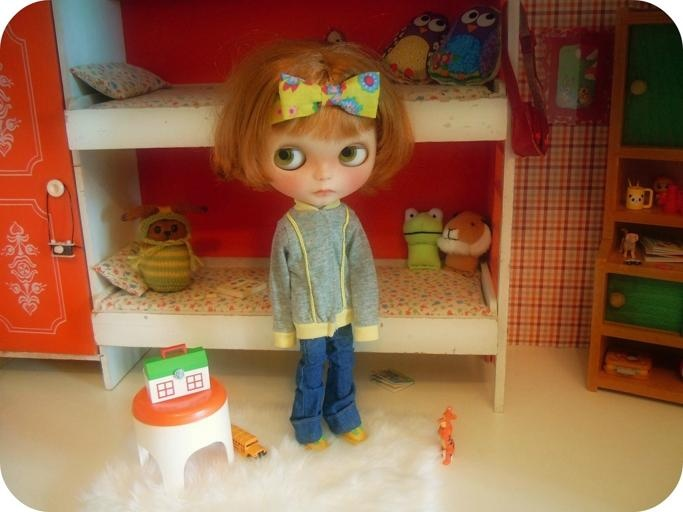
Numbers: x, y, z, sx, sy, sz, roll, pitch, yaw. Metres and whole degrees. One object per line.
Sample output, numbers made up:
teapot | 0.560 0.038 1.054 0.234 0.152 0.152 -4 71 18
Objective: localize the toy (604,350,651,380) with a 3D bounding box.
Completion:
toy | 1.666 0.621 3.236 0.237 0.097 0.170 7 22 26

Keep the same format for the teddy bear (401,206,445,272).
teddy bear | 0.524 -0.112 3.549 0.285 0.391 0.249 -1 3 12

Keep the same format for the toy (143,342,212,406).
toy | -0.772 0.564 2.627 0.305 0.239 0.152 -7 6 -31

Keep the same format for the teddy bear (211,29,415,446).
teddy bear | -0.084 -0.033 2.754 0.944 1.949 0.535 -8 20 -12

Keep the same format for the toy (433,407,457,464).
toy | 0.532 0.829 2.801 0.091 0.284 0.322 0 20 10

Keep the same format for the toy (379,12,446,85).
toy | 0.410 -1.151 3.086 0.286 0.407 0.144 32 3 16

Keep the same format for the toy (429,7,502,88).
toy | 0.676 -1.074 2.980 0.336 0.428 0.186 24 27 16

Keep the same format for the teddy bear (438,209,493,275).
teddy bear | 0.756 -0.079 3.370 0.365 0.413 0.357 3 2 -42

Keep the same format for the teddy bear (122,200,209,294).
teddy bear | -1.048 -0.066 3.361 0.488 0.500 0.322 -10 21 -17
